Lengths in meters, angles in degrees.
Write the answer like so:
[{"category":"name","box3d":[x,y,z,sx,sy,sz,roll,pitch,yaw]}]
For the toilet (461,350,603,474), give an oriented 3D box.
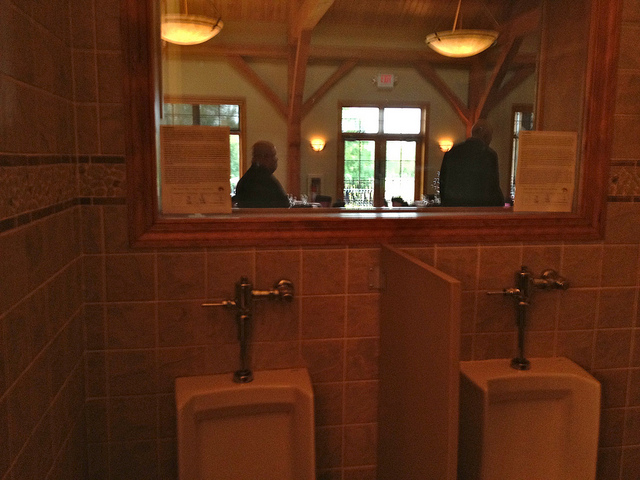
[{"category":"toilet","box3d":[0.657,0.556,1.813,0.420,0.414,0.236,0,0,-4]}]
